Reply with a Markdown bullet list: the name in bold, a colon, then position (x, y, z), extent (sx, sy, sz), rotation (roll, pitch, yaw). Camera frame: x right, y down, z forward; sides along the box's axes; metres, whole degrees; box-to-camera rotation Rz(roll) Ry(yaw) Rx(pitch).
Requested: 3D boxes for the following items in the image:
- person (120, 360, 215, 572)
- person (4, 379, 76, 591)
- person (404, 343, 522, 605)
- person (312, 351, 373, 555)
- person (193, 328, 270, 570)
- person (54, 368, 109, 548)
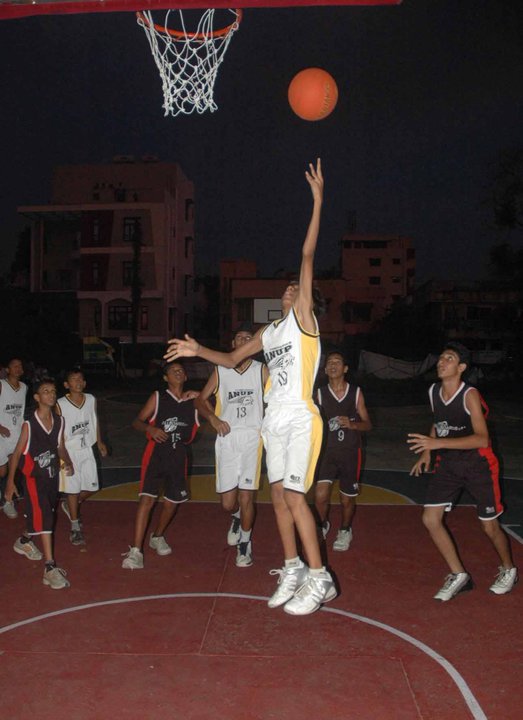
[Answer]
- **person**: position (-0.879, 0.853, 5.748), extent (0.666, 1.676, 0.622), rotation (0, 1, -32)
- **person**: position (-1.718, 0.940, 5.145), extent (0.668, 1.626, 0.575), rotation (-1, 7, -32)
- **person**: position (1.460, 0.733, 4.829), extent (0.794, 1.977, 0.783), rotation (6, 5, 14)
- **person**: position (0.748, 0.851, 6.129), extent (0.513, 1.809, 0.495), rotation (3, 6, -1)
- **person**: position (-0.181, 0.731, 5.709), extent (0.660, 1.869, 0.582), rotation (1, 7, -21)
- **person**: position (-1.710, 0.914, 6.309), extent (0.547, 1.604, 0.491), rotation (-1, 7, -26)
